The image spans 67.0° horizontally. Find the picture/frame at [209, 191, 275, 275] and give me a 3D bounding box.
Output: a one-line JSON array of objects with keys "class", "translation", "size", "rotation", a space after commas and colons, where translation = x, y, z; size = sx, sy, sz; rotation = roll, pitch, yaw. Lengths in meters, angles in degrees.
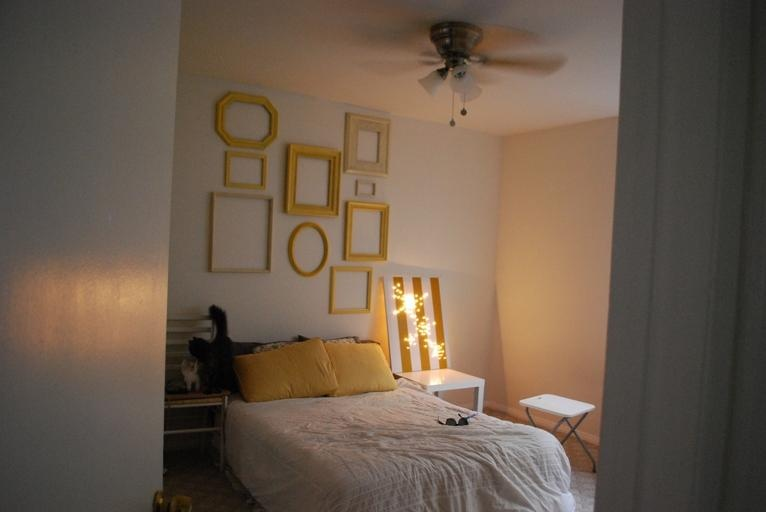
[{"class": "picture/frame", "translation": [-1.041, -0.167, 4.259], "size": [0.482, 0.582, 0.035], "rotation": [3, 1, 9]}]

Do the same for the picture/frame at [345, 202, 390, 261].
[{"class": "picture/frame", "translation": [-0.145, -0.211, 4.898], "size": [0.501, 0.590, 0.062], "rotation": [2, -1, -35]}]

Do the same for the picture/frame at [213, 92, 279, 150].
[{"class": "picture/frame", "translation": [-0.983, -0.983, 4.230], "size": [0.503, 0.578, 0.041], "rotation": [5, -40, -16]}]

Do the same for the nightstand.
[{"class": "nightstand", "translation": [0.508, 1.029, 4.810], "size": [0.471, 0.457, 0.458], "rotation": [0, 1, -28]}]

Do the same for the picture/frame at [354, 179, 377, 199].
[{"class": "picture/frame", "translation": [-0.156, -0.569, 4.885], "size": [0.183, 0.117, 0.024], "rotation": [0, 1, -38]}]

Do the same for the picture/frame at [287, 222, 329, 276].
[{"class": "picture/frame", "translation": [-0.596, -0.059, 4.617], "size": [0.386, 0.452, 0.024], "rotation": [8, 6, 25]}]

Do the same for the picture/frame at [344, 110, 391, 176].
[{"class": "picture/frame", "translation": [-0.131, -0.930, 4.876], "size": [0.415, 0.478, 0.042], "rotation": [0, 6, -35]}]

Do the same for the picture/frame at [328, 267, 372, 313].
[{"class": "picture/frame", "translation": [-0.289, 0.279, 4.813], "size": [0.382, 0.382, 0.040], "rotation": [3, -2, -33]}]

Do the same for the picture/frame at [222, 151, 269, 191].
[{"class": "picture/frame", "translation": [-1.011, -0.632, 4.282], "size": [0.296, 0.258, 0.031], "rotation": [4, 7, -10]}]

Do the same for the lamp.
[{"class": "lamp", "translation": [0.474, -1.088, 3.448], "size": [1.187, 0.228, 0.836], "rotation": [3, 1, -13]}]

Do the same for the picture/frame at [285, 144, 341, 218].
[{"class": "picture/frame", "translation": [-0.573, -0.601, 4.581], "size": [0.595, 0.694, 0.081], "rotation": [3, -3, -35]}]

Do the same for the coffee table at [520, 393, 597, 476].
[{"class": "coffee table", "translation": [1.352, 1.357, 4.324], "size": [0.492, 0.540, 0.601], "rotation": [-13, -9, 21]}]
